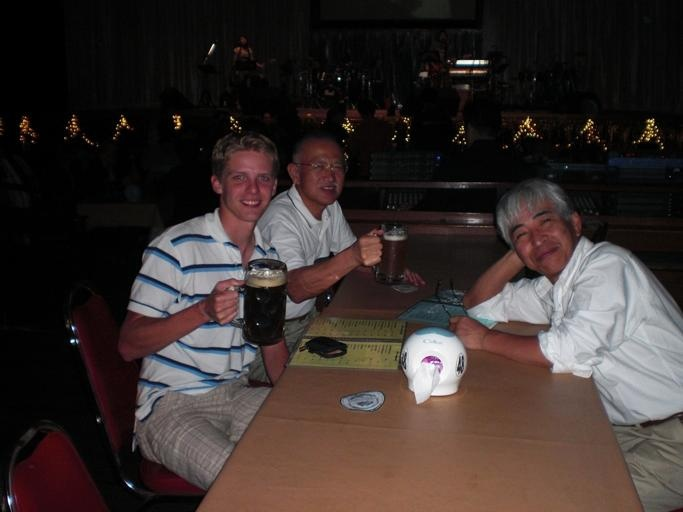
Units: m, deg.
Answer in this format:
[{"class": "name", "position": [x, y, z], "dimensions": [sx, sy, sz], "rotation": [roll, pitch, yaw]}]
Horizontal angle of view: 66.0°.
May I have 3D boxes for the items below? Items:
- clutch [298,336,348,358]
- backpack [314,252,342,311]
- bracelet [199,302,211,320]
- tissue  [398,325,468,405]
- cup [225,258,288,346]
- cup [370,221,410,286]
[{"class": "clutch", "position": [-0.056, 0.285, 1.664], "dimensions": [0.101, 0.025, 0.074], "rotation": [3, 5, 40]}, {"class": "backpack", "position": [-0.055, 0.162, 2.877], "dimensions": [0.107, 0.282, 0.212], "rotation": [24, 33, -20]}, {"class": "bracelet", "position": [-0.415, 0.167, 1.604], "dimensions": [0.039, 0.038, 0.029], "rotation": [18, 42, -4]}, {"class": "tissue ", "position": [0.257, 0.296, 1.471], "dimensions": [0.193, 0.176, 0.241], "rotation": [4, 9, 16]}, {"class": "cup", "position": [-0.217, 0.145, 1.508], "dimensions": [0.256, 0.251, 0.140], "rotation": [1, 9, -4]}, {"class": "cup", "position": [0.217, -0.016, 2.182], "dimensions": [0.132, 0.238, 0.231], "rotation": [-1, 26, -2]}]
